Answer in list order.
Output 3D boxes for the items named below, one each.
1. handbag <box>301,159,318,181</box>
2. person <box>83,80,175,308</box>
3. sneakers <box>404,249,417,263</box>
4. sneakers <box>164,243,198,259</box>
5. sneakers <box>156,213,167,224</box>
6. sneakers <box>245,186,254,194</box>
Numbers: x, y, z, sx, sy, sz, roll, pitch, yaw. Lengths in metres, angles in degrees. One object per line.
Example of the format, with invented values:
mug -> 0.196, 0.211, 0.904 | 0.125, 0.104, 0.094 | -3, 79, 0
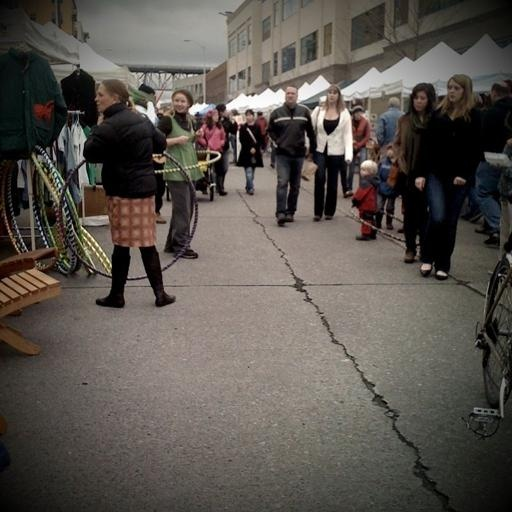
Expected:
handbag -> 1.036, -1.668, 9.514 | 0.289, 0.324, 0.177 | 27, -7, 15
person -> -1.210, -0.572, 4.727 | 0.800, 2.172, 0.454 | -2, 9, -19
sneakers -> 2.166, -0.008, 6.915 | 0.143, 0.185, 0.314 | 5, 10, 24
sneakers -> -1.124, -0.077, 7.103 | 0.558, 0.233, 0.190 | 1, 10, 11
sneakers -> -1.934, -0.762, 9.986 | 0.120, 0.138, 0.358 | -10, 14, -25
sneakers -> -0.174, -1.930, 14.517 | 0.218, 0.253, 0.606 | -2, 10, -8
